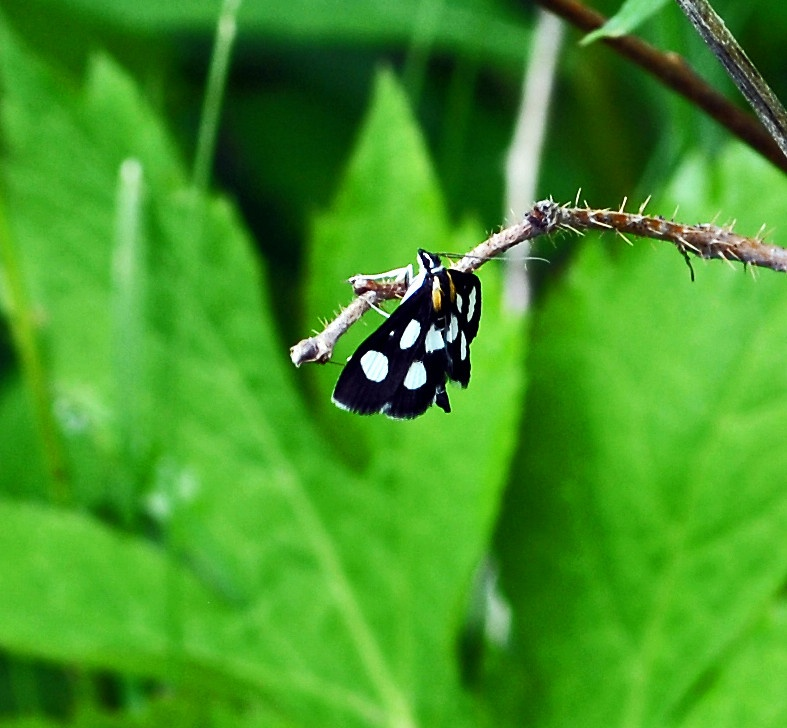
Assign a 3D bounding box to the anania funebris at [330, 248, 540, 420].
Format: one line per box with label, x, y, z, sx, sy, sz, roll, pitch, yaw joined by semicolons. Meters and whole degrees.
anania funebris;0.021;-0.015;0.509;0.050;0.088;0.120;8;10;29
